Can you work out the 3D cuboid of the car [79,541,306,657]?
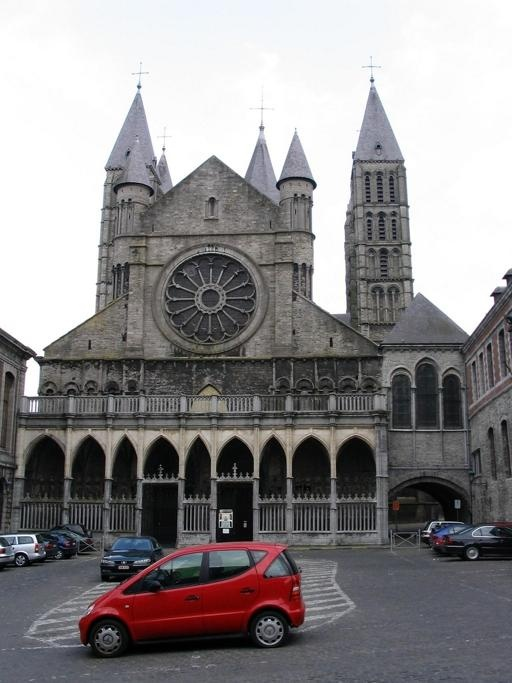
[{"bbox_3d":[-0.821,3.569,10.983,2.721,1.145,1.482,2,-16,-1],"label":"car"}]

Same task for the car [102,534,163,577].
[{"bbox_3d":[-3.696,6.477,23.541,1.354,0.929,2.991,-1,-16,1],"label":"car"}]
